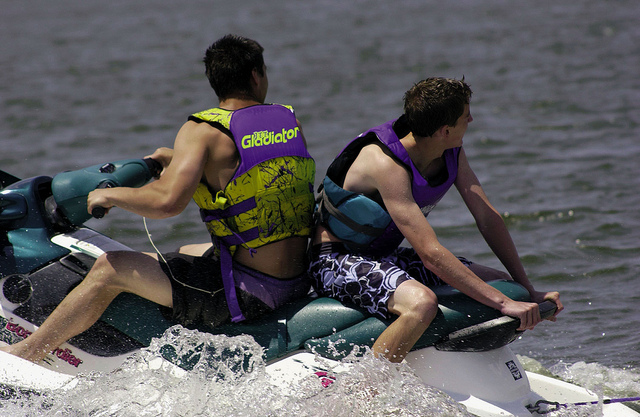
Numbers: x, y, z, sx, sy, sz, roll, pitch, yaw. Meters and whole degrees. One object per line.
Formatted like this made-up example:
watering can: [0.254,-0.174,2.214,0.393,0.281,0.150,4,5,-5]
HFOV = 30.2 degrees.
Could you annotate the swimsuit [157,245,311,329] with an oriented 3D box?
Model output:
swimsuit: [-0.959,0.803,12.470,1.164,0.819,0.924,0,0,-32]

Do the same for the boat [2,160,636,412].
boat: [-0.617,1.283,13.241,7.080,2.591,2.657,12,7,16]
